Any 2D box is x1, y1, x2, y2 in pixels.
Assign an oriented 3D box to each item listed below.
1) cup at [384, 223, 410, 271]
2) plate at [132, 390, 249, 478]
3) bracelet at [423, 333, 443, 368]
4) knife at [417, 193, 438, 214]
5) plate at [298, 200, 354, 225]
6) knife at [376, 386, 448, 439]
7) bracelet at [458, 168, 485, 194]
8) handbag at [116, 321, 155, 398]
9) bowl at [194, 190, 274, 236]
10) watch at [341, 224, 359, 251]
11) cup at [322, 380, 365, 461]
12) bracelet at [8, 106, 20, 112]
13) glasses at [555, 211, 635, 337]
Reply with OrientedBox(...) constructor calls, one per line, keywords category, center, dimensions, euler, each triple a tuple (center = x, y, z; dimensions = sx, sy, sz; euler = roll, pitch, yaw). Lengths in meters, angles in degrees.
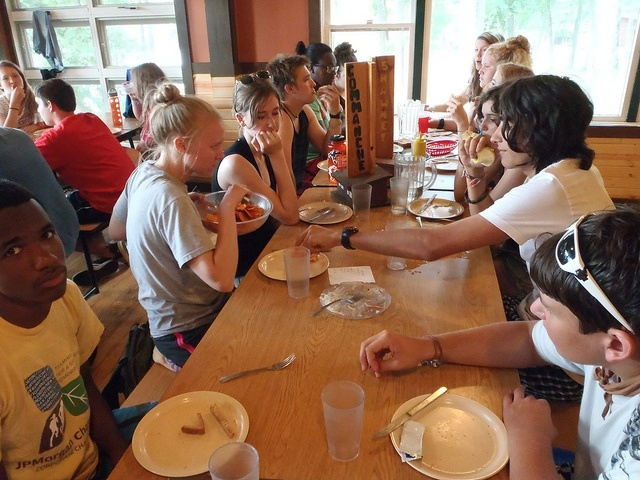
OrientedBox(category="cup", center=(0.306, 0.033, 1.834), dimensions=(0.109, 0.181, 0.111), euler=(-3, 27, 1))
OrientedBox(category="plate", center=(-0.341, 0.503, 1.205), dimensions=(0.253, 0.063, 0.266), euler=(18, 32, 39))
OrientedBox(category="bracelet", center=(0.346, 0.343, 1.396), dimensions=(0.058, 0.081, 0.024), euler=(4, -10, -5))
OrientedBox(category="knife", center=(0.540, -0.179, 2.306), dimensions=(0.045, 0.034, 0.385), euler=(34, 28, 4))
OrientedBox(category="plate", center=(0.036, -0.137, 2.326), dimensions=(0.163, 0.024, 0.163), euler=(-8, 29, -21))
OrientedBox(category="knife", center=(0.250, 0.474, 1.248), dimensions=(0.244, 0.010, 0.032), euler=(-19, 28, -38))
OrientedBox(category="bracelet", center=(0.761, -0.326, 2.431), dimensions=(0.072, 0.118, 0.081), euler=(14, 8, -45))
OrientedBox(category="handbag", center=(-0.716, 0.481, 1.856), dimensions=(0.092, 0.134, 0.242), euler=(22, 50, -20))
OrientedBox(category="bowl", center=(-0.359, -0.134, 2.022), dimensions=(0.228, 0.096, 0.233), euler=(2, 32, -1))
OrientedBox(category="watch", center=(0.113, -0.015, 1.942), dimensions=(0.059, 0.090, 0.089), euler=(9, 54, 37))
OrientedBox(category="cup", center=(0.058, 0.462, 1.160), dimensions=(0.126, 0.190, 0.120), euler=(-1, 20, 0))
OrientedBox(category="bracelet", center=(-2.832, -1.217, 4.227), dimensions=(0.076, 0.048, 0.098), euler=(-18, 28, -29))
OrientedBox(category="glasses", center=(0.636, 0.097, 1.130), dimensions=(0.229, 0.068, 0.229), euler=(44, 25, 9))
